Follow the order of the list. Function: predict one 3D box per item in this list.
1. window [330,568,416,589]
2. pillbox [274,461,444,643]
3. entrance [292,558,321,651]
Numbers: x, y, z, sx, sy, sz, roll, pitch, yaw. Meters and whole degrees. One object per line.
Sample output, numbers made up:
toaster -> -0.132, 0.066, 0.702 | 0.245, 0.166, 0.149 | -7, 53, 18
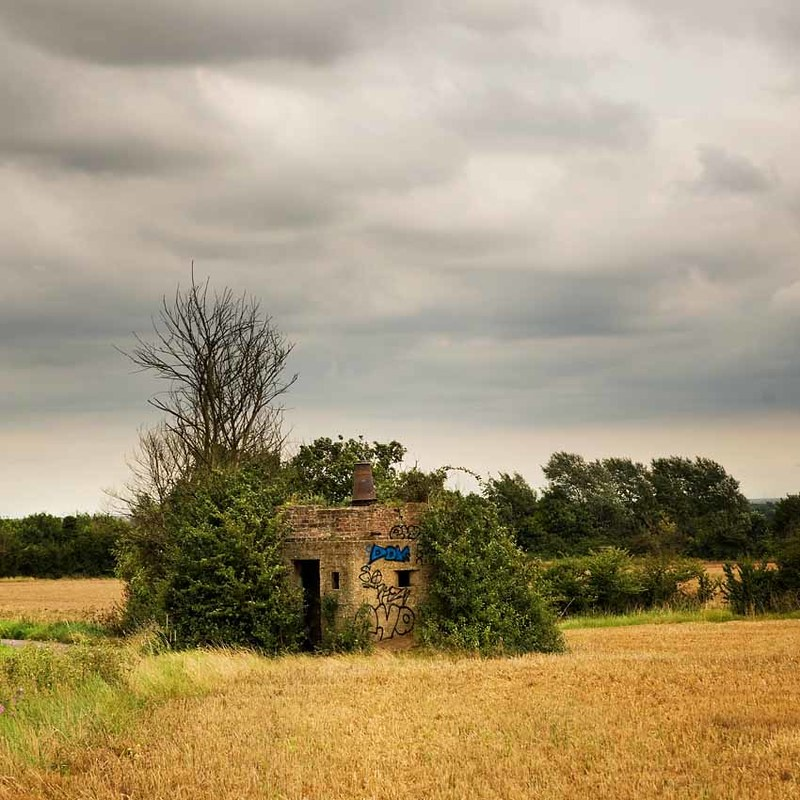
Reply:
window -> -0.704, 4.579, 41.677 | 2.083, 0.529, 0.338 | 2, -1, -3
pillbox -> -1.410, 4.093, 43.348 | 3.949, 4.744, 3.968 | 4, -4, -41
entrance -> -2.408, 5.358, 42.070 | 1.002, 1.934, 1.920 | 1, -15, -6
